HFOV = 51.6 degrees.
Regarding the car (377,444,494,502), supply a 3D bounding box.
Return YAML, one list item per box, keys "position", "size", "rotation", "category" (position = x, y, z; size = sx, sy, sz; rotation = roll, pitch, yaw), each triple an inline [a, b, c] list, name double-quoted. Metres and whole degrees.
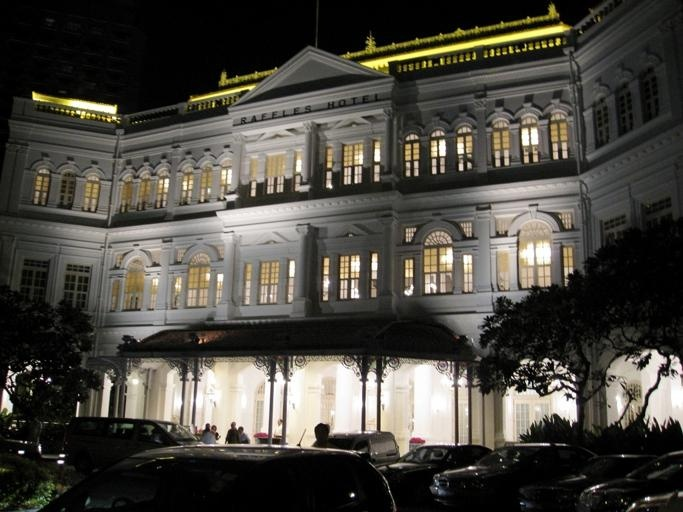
- position: [3.261, 6.998, 22.903]
  size: [3.438, 1.078, 1.585]
  rotation: [14, -24, -41]
  category: "car"
